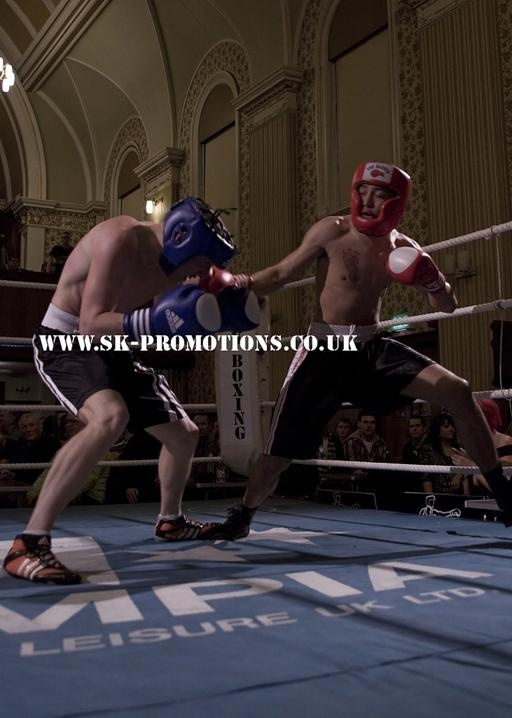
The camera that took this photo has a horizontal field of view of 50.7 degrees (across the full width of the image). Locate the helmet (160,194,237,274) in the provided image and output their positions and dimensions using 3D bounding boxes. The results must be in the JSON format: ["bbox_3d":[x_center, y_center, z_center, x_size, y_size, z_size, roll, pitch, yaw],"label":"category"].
[{"bbox_3d":[-0.145,-0.322,1.383,0.186,0.200,0.135,4,-13,-20],"label":"helmet"}]

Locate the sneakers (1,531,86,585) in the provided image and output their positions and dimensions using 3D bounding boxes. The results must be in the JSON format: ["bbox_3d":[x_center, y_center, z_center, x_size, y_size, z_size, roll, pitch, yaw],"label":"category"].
[{"bbox_3d":[-0.487,0.458,1.250,0.226,0.101,0.087,-3,-18,29],"label":"sneakers"}]

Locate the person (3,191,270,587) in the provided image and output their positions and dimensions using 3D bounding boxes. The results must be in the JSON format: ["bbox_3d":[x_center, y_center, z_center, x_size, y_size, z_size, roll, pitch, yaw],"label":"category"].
[{"bbox_3d":[-0.362,0.045,1.990,1.027,1.439,0.844,1,0,-29],"label":"person"}]

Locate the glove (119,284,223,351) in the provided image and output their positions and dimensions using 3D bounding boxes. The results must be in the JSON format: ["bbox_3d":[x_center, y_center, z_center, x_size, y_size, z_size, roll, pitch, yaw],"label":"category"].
[{"bbox_3d":[-0.184,-0.071,1.197,0.205,0.093,0.151,-4,-14,8],"label":"glove"}]

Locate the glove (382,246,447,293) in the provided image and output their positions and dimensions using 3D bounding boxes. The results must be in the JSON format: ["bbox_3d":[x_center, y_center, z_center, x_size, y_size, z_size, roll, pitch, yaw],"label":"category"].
[{"bbox_3d":[0.408,-0.229,1.441,0.072,0.088,0.169,45,10,25],"label":"glove"}]

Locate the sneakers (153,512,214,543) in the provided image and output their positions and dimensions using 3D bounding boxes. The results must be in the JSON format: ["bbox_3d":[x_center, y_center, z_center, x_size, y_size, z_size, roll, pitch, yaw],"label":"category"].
[{"bbox_3d":[-0.238,0.567,1.841,0.228,0.101,0.079,0,-8,-17],"label":"sneakers"}]

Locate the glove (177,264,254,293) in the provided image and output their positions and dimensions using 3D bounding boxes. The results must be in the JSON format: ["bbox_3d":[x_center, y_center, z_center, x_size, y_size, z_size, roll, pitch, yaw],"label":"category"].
[{"bbox_3d":[-0.077,-0.198,1.396,0.127,0.048,0.094,-3,6,-29],"label":"glove"}]

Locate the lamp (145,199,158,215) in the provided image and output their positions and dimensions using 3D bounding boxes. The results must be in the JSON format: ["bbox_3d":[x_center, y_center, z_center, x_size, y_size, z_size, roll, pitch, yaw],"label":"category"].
[{"bbox_3d":[-1.817,-2.547,9.056,0.173,0.263,0.268,-5,16,-25],"label":"lamp"}]

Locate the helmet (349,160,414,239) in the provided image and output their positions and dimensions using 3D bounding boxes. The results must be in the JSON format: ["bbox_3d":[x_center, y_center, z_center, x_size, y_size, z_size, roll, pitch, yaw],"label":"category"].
[{"bbox_3d":[0.360,-0.451,1.569,0.169,0.195,0.204,12,14,20],"label":"helmet"}]
